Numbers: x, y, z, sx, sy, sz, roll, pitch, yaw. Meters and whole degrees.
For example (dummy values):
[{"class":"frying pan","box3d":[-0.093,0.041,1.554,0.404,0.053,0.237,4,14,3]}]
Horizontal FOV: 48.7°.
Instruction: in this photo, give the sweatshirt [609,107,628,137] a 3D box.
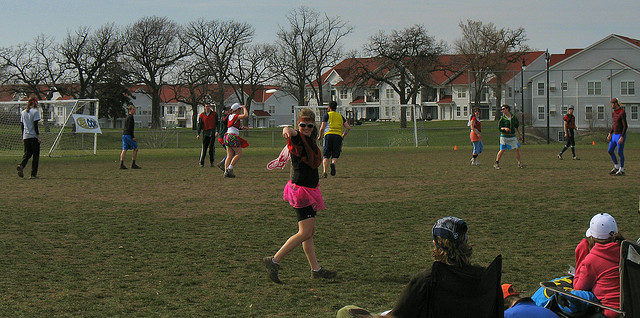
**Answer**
[{"class":"sweatshirt","box3d":[14.394,-1.826,34.588,0.674,1.438,0.551,1,5,36]}]

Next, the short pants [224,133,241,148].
[{"class":"short pants","box3d":[-4.434,-0.935,35.536,0.786,0.743,0.404,-2,4,-11]}]

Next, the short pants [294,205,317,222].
[{"class":"short pants","box3d":[-0.579,2.030,26.115,1.058,0.653,0.562,-2,-22,9]}]

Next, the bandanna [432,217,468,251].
[{"class":"bandanna","box3d":[4.238,2.493,23.896,1.278,1.016,1.043,16,-2,11]}]

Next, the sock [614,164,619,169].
[{"class":"sock","box3d":[14.656,0.386,35.274,0.251,0.209,0.228,-7,6,-13]}]

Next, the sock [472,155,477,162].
[{"class":"sock","box3d":[8.469,-0.030,39.449,0.332,0.379,0.316,0,-3,16]}]
